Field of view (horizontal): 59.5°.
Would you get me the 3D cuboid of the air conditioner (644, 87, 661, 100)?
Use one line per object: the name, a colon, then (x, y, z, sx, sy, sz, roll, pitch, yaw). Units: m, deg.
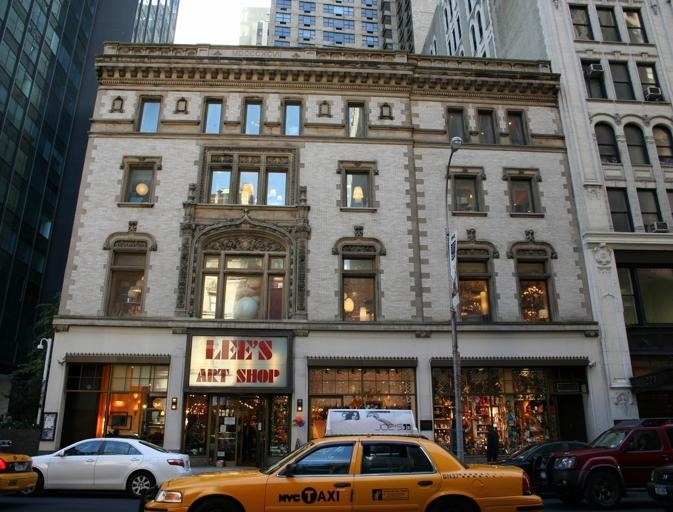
air conditioner: (17.968, -9.249, 33.477, 0.870, 0.518, 0.434, 3, -12, -4)

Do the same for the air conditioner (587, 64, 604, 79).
air conditioner: (14.795, -10.540, 33.582, 0.976, 0.564, 0.481, 2, -7, -4)

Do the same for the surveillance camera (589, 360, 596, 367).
surveillance camera: (12.654, 5.406, 29.153, 0.529, 0.299, 0.117, 7, -24, -19)

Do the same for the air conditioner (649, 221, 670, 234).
air conditioner: (17.029, -1.477, 31.016, 0.762, 0.422, 0.706, 1, -5, 0)

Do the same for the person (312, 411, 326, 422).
person: (-0.864, 7.617, 28.199, 0.865, 0.719, 0.403, 1, -14, -3)
